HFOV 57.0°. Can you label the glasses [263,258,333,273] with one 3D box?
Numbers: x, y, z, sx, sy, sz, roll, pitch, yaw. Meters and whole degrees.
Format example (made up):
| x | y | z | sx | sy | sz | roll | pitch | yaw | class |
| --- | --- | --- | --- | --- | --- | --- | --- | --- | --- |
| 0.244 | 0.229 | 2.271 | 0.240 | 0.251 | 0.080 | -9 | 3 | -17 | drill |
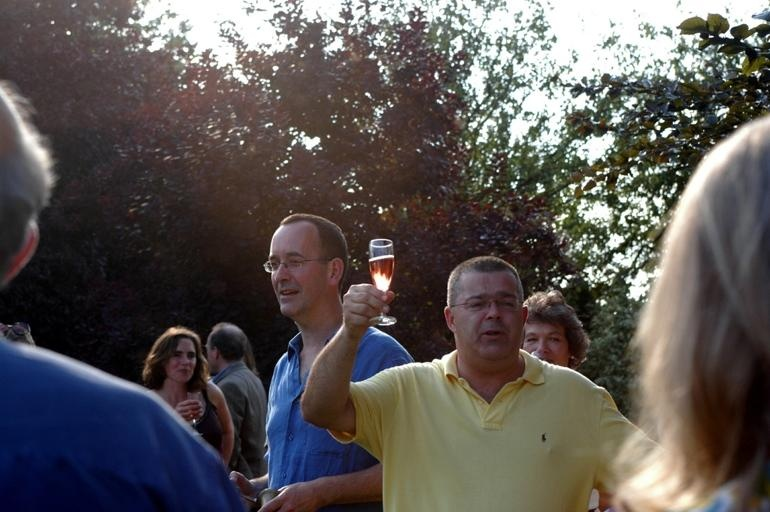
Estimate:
| x | y | z | sx | sy | sz | roll | pitch | yaw | class |
| --- | --- | --- | --- | --- | --- | --- | --- | --- | --- |
| -0.498 | 0.051 | 3.986 | 0.177 | 0.053 | 0.171 | 3 | -11 | -30 | glasses |
